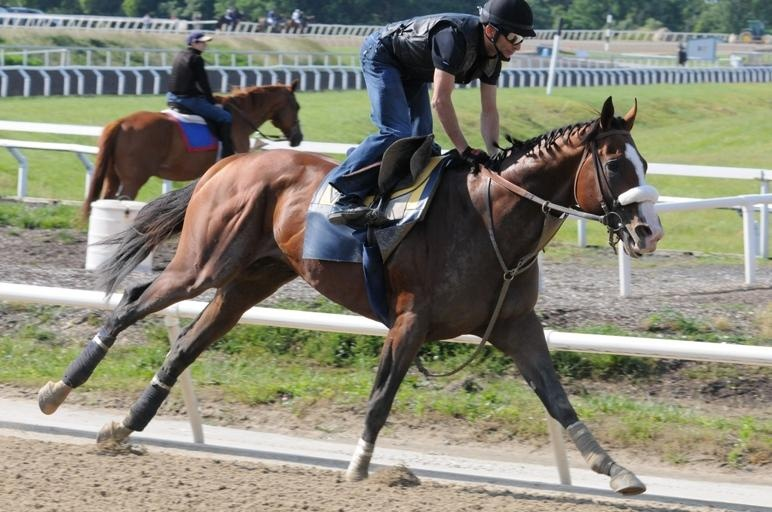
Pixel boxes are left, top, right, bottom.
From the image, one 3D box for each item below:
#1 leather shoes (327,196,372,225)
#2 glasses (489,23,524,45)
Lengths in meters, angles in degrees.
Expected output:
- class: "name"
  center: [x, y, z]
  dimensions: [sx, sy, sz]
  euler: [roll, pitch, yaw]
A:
- class: "leather shoes"
  center: [-0.167, -0.320, 8.175]
  dimensions: [0.469, 0.108, 0.256]
  euler: [3, 25, 14]
- class: "glasses"
  center: [0.847, -1.562, 8.192]
  dimensions: [0.234, 0.046, 0.165]
  euler: [15, 7, 5]
